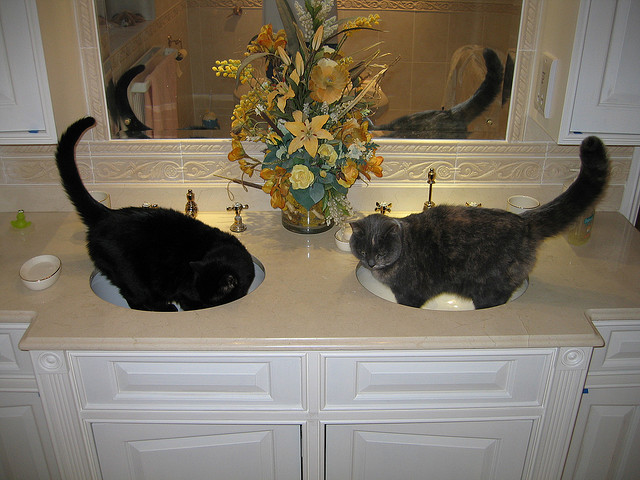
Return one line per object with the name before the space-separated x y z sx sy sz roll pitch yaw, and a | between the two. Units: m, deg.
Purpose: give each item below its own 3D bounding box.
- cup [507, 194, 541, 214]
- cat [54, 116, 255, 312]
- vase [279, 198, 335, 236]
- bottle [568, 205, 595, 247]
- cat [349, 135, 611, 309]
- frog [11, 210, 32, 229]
cup | 0.736 -0.128 1.859 0.089 0.063 0.087 -4 32 3
cat | -0.441 -0.043 1.853 0.868 0.679 0.374 12 44 -11
vase | -0.049 -0.096 1.872 0.140 0.139 0.134 4 13 17
bottle | 0.866 -0.047 1.712 0.074 0.119 0.075 -6 37 4
cat | 0.463 -0.048 1.559 0.739 0.510 0.173 -2 22 0
frog | -1.102 -0.076 1.900 0.066 0.062 0.051 -15 25 -29
